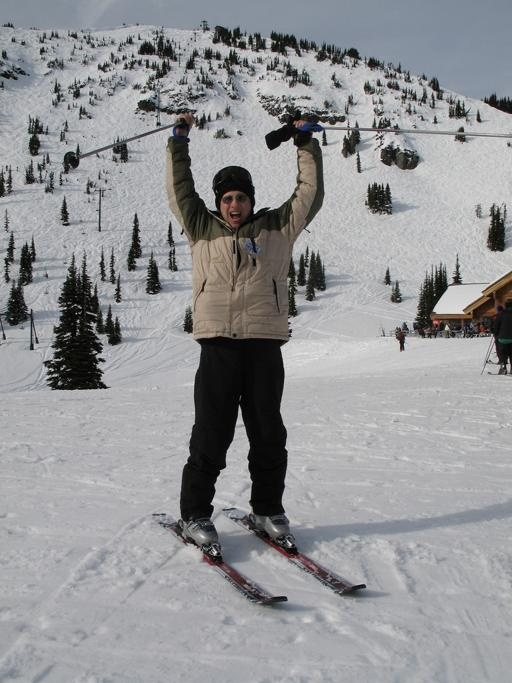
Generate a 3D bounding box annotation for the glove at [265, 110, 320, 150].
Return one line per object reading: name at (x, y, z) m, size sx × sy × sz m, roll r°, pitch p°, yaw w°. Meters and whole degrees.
glove at (0.196, -1.042, 4.129) m, size 0.249 × 0.162 × 0.357 m, roll 19°, pitch 31°, yaw 15°

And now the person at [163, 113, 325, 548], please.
person at (-0.085, -0.091, 3.687) m, size 0.764 × 1.979 × 0.956 m, roll 1°, pitch 6°, yaw 3°

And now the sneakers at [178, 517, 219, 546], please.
sneakers at (-0.240, 0.808, 3.389) m, size 0.074 × 0.072 × 0.172 m, roll 3°, pitch 10°, yaw -28°

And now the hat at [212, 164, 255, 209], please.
hat at (-0.101, -0.722, 3.871) m, size 0.173 × 0.098 × 0.225 m, roll -7°, pitch -34°, yaw 15°
